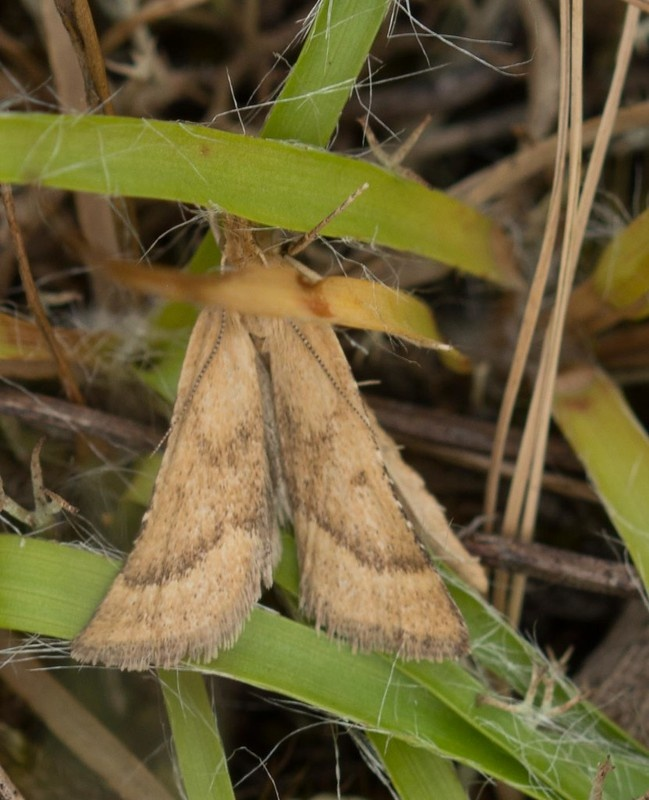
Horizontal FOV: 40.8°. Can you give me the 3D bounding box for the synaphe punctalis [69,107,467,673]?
[{"bbox_3d":[-0.057,0.011,0.585,0.274,0.328,0.082,-5,0,8],"label":"synaphe punctalis"}]
